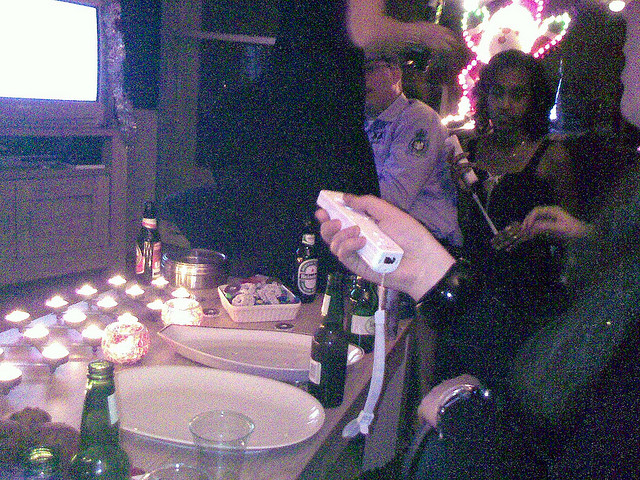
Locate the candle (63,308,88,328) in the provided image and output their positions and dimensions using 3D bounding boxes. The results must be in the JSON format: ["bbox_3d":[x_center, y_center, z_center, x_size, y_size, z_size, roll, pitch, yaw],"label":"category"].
[{"bbox_3d":[-0.688,0.213,1.504,0.053,0.017,0.052,18,22,-7],"label":"candle"}]

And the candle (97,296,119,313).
[{"bbox_3d":[-0.653,0.203,1.627,0.057,0.035,0.065,-6,20,-24],"label":"candle"}]

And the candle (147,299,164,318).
[{"bbox_3d":[-0.506,0.209,1.625,0.047,0.027,0.046,-6,18,-25],"label":"candle"}]

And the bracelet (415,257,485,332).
[{"bbox_3d":[0.326,0.143,1.312,0.073,0.197,0.142,39,11,-15],"label":"bracelet"}]

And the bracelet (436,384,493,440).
[{"bbox_3d":[0.330,0.375,1.257,0.129,0.095,0.128,-48,8,-37],"label":"bracelet"}]

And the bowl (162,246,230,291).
[{"bbox_3d":[-0.425,0.102,1.908,0.176,0.063,0.179,10,16,-3],"label":"bowl"}]

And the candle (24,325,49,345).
[{"bbox_3d":[-0.737,0.246,1.374,0.049,0.021,0.049,21,24,26],"label":"candle"}]

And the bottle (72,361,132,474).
[{"bbox_3d":[-0.377,0.311,0.896,0.077,0.191,0.054,-1,19,-10],"label":"bottle"}]

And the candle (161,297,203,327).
[{"bbox_3d":[-0.408,0.209,1.555,0.088,0.061,0.091,4,-6,-10],"label":"candle"}]

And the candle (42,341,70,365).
[{"bbox_3d":[-0.646,0.281,1.292,0.055,0.034,0.056,-3,19,-16],"label":"candle"}]

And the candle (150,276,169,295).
[{"bbox_3d":[-0.545,0.159,1.801,0.058,0.041,0.058,34,35,32],"label":"candle"}]

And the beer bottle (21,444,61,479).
[{"bbox_3d":[-0.453,0.360,0.870,0.055,0.057,0.055,7,10,-22],"label":"beer bottle"}]

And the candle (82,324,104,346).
[{"bbox_3d":[-0.595,0.250,1.385,0.053,0.023,0.052,10,28,-8],"label":"candle"}]

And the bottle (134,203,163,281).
[{"bbox_3d":[-0.605,0.007,1.861,0.089,0.297,0.105,-6,20,-24],"label":"bottle"}]
